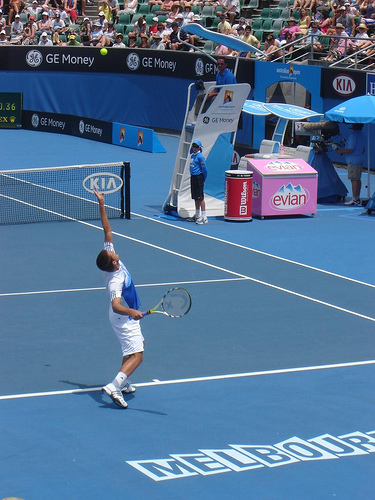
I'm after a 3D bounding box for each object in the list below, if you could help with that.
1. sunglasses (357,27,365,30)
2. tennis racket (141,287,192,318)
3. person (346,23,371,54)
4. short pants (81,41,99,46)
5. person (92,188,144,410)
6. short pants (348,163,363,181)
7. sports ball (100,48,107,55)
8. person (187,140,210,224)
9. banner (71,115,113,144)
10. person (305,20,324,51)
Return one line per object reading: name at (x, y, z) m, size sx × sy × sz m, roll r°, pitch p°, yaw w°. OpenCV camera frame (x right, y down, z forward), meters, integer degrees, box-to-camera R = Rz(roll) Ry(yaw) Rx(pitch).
sunglasses at (5.496, -6.981, 22.348) m, size 0.137 × 0.037 × 0.137 m, roll 0°, pitch 0°, yaw -3°
tennis racket at (-0.118, 0.451, 6.139) m, size 0.259 × 0.257 × 0.242 m, roll -1°, pitch 13°, yaw -8°
person at (5.443, -6.744, 22.480) m, size 0.668 × 0.932 × 1.202 m, roll 3°, pitch 12°, yaw 7°
short pants at (-4.287, -9.047, 31.048) m, size 0.480 × 0.161 × 0.675 m, roll -7°, pitch 8°, yaw -36°
person at (-0.665, 0.426, 6.841) m, size 0.466 × 1.835 × 1.538 m, roll -1°, pitch 13°, yaw -8°
short pants at (3.929, -1.823, 16.464) m, size 0.321 × 0.580 × 0.428 m, roll -3°, pitch 10°, yaw -11°
sports ball at (-3.546, -8.290, 29.653) m, size 0.208 × 0.208 × 0.241 m, roll 22°, pitch -31°, yaw -7°
person at (0.258, -1.403, 14.986) m, size 0.439 × 1.758 × 0.563 m, roll 1°, pitch 13°, yaw 0°
banner at (-3.870, -4.787, 28.190) m, size 0.249 × 0.943 × 3.112 m, roll -8°, pitch 15°, yaw -35°
person at (4.236, -7.104, 23.589) m, size 0.611 × 0.942 × 2.013 m, roll 3°, pitch 12°, yaw 10°
